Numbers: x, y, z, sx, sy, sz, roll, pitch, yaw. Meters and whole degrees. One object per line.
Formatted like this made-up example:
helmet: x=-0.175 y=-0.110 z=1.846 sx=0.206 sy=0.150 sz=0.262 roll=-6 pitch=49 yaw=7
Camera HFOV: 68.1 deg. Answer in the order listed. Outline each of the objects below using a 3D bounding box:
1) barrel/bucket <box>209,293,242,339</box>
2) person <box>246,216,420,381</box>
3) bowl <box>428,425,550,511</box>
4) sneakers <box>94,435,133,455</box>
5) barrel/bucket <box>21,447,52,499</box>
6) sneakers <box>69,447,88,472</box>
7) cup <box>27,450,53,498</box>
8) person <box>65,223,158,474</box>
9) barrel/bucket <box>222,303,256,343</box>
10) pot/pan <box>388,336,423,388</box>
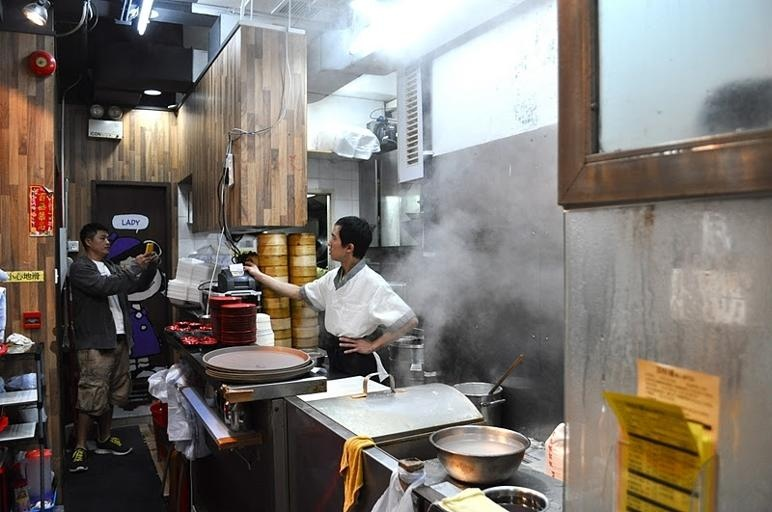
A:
barrel/bucket: x=-0.887 y=0.353 z=3.223 sx=0.220 sy=0.240 sz=0.220 roll=0 pitch=-4 yaw=0
person: x=-0.263 y=0.286 z=3.633 sx=0.602 sy=1.068 sz=1.143 roll=-2 pitch=10 yaw=-25
bowl: x=0.316 y=0.633 z=1.775 sx=0.382 sy=0.133 sz=0.322 roll=5 pitch=10 yaw=18
sneakers: x=-2.258 y=1.571 z=4.687 sx=0.290 sy=0.123 sz=0.141 roll=5 pitch=-1 yaw=-10
barrel/bucket: x=-2.152 y=1.300 z=3.523 sx=0.143 sy=0.214 sz=0.127 roll=-1 pitch=3 yaw=-26
sneakers: x=-2.378 y=1.573 z=4.388 sx=0.125 sy=0.140 sz=0.263 roll=-3 pitch=11 yaw=-30
cup: x=-2.170 y=1.359 z=3.535 sx=0.166 sy=0.241 sz=0.156 roll=-7 pitch=-19 yaw=-2
person: x=-2.215 y=0.708 z=4.614 sx=0.662 sy=1.907 sz=0.730 roll=-2 pitch=10 yaw=-22
barrel/bucket: x=-0.785 y=0.370 z=3.021 sx=0.201 sy=0.204 sz=0.198 roll=1 pitch=0 yaw=0
pot/pan: x=0.137 y=0.706 z=3.770 sx=0.291 sy=0.316 sz=0.291 roll=0 pitch=-3 yaw=-2
